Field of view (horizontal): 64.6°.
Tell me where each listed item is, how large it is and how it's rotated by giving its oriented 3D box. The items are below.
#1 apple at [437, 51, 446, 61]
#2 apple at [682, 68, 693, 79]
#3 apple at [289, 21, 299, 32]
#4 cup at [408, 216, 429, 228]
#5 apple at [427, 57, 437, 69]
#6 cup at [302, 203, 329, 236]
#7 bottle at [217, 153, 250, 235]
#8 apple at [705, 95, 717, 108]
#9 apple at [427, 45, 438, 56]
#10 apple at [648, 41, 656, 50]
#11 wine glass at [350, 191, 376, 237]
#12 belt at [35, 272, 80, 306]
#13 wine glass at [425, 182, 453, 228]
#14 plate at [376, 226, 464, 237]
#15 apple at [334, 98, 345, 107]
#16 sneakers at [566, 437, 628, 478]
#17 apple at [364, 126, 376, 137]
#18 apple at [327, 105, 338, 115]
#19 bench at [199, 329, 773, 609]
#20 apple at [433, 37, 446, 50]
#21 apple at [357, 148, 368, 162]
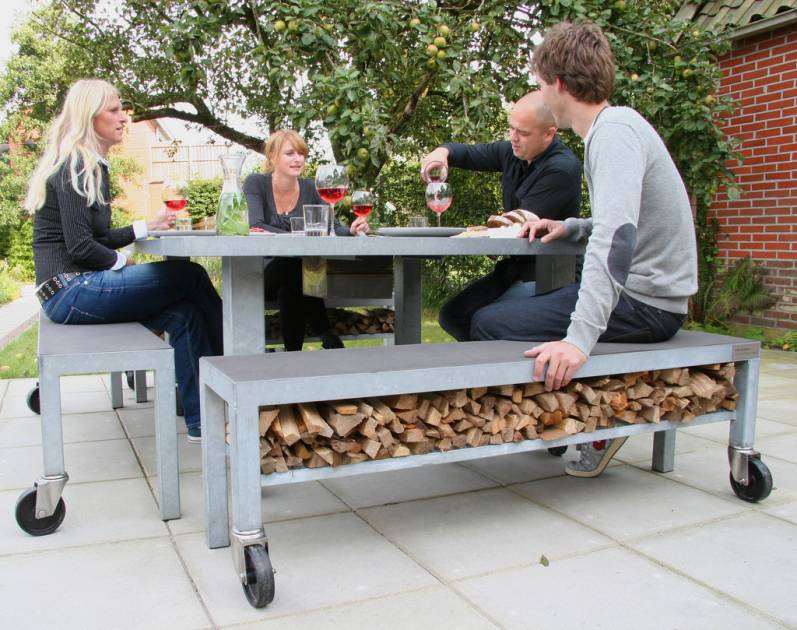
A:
[{"bbox_3d":[0.278,-1.714,4.142,0.067,0.063,0.045,-1,9,-8],"label":"apple"},{"bbox_3d":[2.172,-1.814,4.751,0.060,0.069,0.056,9,51,10],"label":"apple"},{"bbox_3d":[-0.688,-1.885,4.125,0.066,0.059,0.063,3,6,3],"label":"apple"},{"bbox_3d":[0.094,-0.428,2.895,0.097,0.061,0.094,2,6,0],"label":"cup"},{"bbox_3d":[0.218,-1.663,4.169,0.058,0.062,0.056,5,12,0],"label":"apple"},{"bbox_3d":[-0.320,-0.360,2.437,0.121,0.123,0.118,-1,-2,0],"label":"cup"},{"bbox_3d":[-0.635,-0.464,2.392,0.114,0.320,0.318,-2,8,-12],"label":"bottle"},{"bbox_3d":[2.430,-1.669,4.919,0.062,0.093,0.200,5,9,32],"label":"apple"},{"bbox_3d":[0.219,-1.722,4.106,0.067,0.072,0.065,-5,12,-34],"label":"apple"},{"bbox_3d":[1.897,-2.022,4.726,0.056,0.060,0.054,-6,-25,8],"label":"apple"},{"bbox_3d":[-0.156,-0.471,2.749,0.089,0.140,0.161,0,8,2],"label":"wine glass"},{"bbox_3d":[-1.519,-0.135,2.846,0.166,0.038,0.153,-24,8,18],"label":"belt"},{"bbox_3d":[0.186,-0.522,2.948,0.106,0.209,0.305,0,8,4],"label":"wine glass"},{"bbox_3d":[0.087,-0.347,2.631,0.203,0.019,0.198,1,3,26],"label":"plate"},{"bbox_3d":[-0.392,-1.409,4.185,0.051,0.046,0.049,3,4,9],"label":"apple"},{"bbox_3d":[0.860,0.620,2.738,0.288,0.124,0.096,-42,7,33],"label":"sneakers"},{"bbox_3d":[-0.202,-1.213,4.168,0.071,0.066,0.078,10,29,-13],"label":"apple"},{"bbox_3d":[-0.436,-1.355,4.165,0.057,0.066,0.058,18,31,40],"label":"apple"},{"bbox_3d":[0.354,0.435,2.427,2.119,0.671,0.784,-3,8,-20],"label":"bench"},{"bbox_3d":[0.268,-1.762,4.098,0.072,0.077,0.069,6,13,10],"label":"apple"},{"bbox_3d":[-0.240,-1.074,4.228,0.064,0.062,0.082,0,8,-4],"label":"apple"}]
